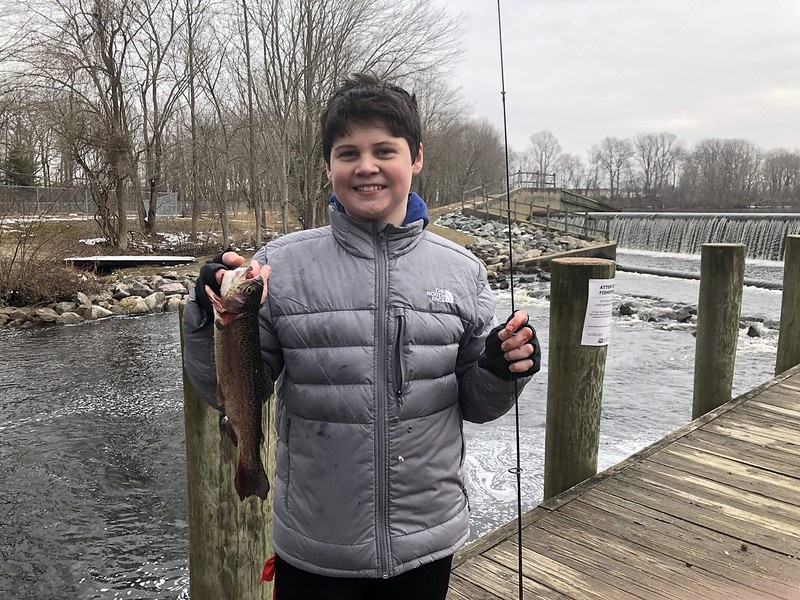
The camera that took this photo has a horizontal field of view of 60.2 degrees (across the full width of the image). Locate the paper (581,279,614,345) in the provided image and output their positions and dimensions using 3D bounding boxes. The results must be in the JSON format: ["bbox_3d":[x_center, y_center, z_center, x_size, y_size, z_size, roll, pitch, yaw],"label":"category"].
[{"bbox_3d":[1.507,0.089,5.186,0.254,0.516,0.070,-3,9,-23],"label":"paper"}]

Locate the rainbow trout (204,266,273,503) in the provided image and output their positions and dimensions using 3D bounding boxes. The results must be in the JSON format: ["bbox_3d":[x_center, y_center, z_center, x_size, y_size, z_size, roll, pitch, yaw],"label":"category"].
[{"bbox_3d":[-0.796,0.418,3.451,0.272,1.152,0.176,-1,11,-4],"label":"rainbow trout"}]
